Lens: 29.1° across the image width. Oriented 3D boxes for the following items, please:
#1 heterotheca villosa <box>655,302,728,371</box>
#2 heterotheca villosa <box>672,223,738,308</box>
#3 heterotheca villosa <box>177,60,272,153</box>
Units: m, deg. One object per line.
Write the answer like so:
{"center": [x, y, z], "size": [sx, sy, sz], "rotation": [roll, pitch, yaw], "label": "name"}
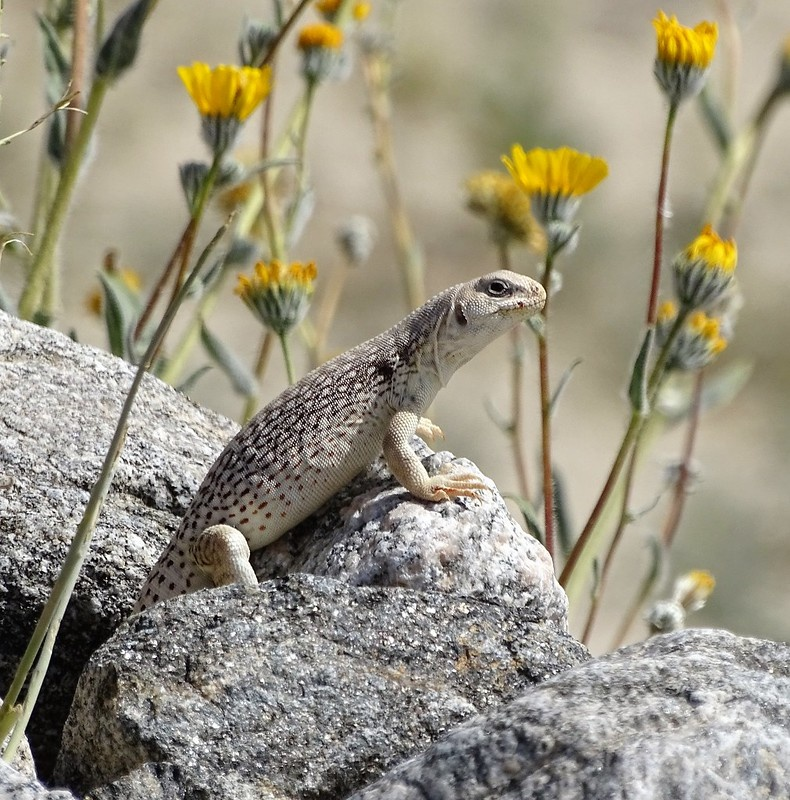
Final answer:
{"center": [0.836, -0.198, 4.279], "size": [0.173, 0.209, 0.081], "rotation": [32, 29, -5], "label": "heterotheca villosa"}
{"center": [0.830, -0.351, 4.092], "size": [0.159, 0.222, 0.136], "rotation": [17, 18, -10], "label": "heterotheca villosa"}
{"center": [-0.460, -0.809, 4.117], "size": [0.243, 0.237, 0.244], "rotation": [10, -7, -7], "label": "heterotheca villosa"}
